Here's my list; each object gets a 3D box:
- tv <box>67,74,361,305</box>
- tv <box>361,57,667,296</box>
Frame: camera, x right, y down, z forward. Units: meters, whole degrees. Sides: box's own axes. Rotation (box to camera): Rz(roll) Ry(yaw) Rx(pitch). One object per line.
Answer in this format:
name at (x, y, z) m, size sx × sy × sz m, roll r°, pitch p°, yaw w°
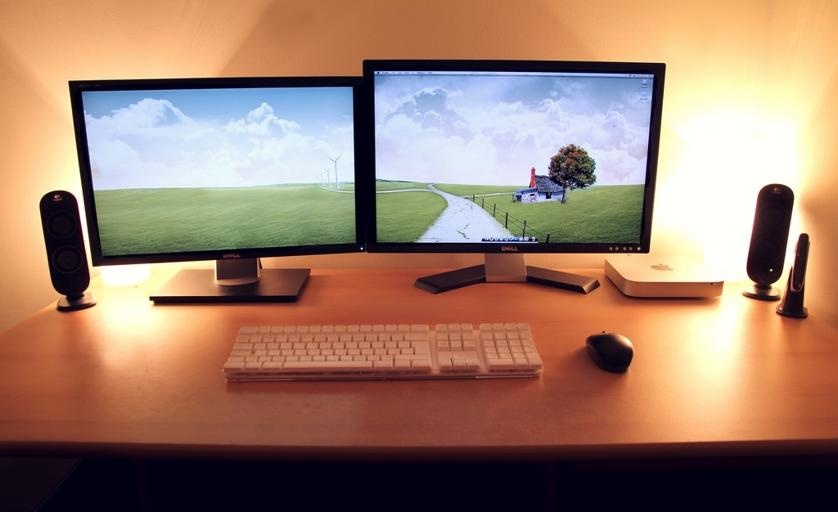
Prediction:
tv at (-0.665, -0.231, 1.941) m, size 0.905 × 0.577 × 0.322 m, roll 0°, pitch 8°, yaw -4°
tv at (0.310, -0.282, 1.973) m, size 0.982 × 0.631 × 0.237 m, roll 0°, pitch 11°, yaw 0°
